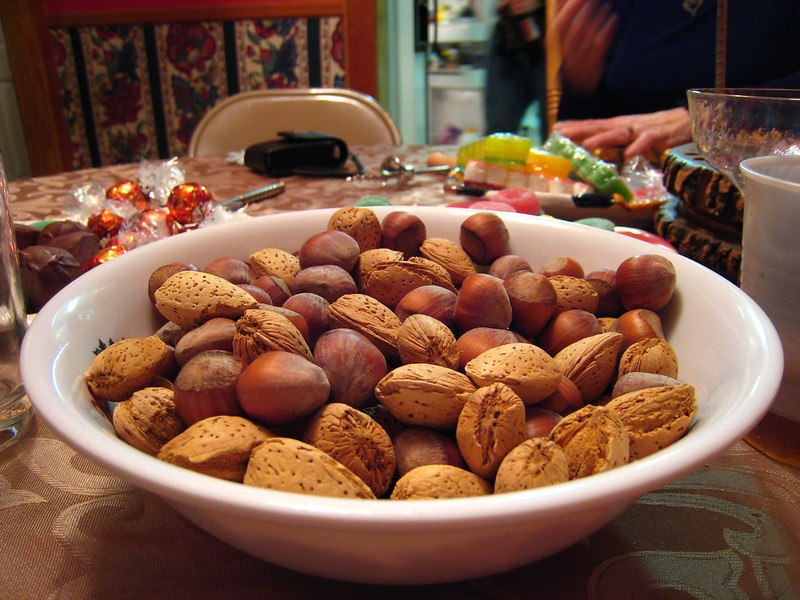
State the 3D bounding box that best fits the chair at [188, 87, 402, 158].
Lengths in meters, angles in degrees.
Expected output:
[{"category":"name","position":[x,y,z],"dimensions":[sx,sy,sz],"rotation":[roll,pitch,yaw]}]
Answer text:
[{"category":"chair","position":[-0.319,-0.556,1.834],"dimensions":[0.431,0.182,0.377],"rotation":[-1,30,5]}]
